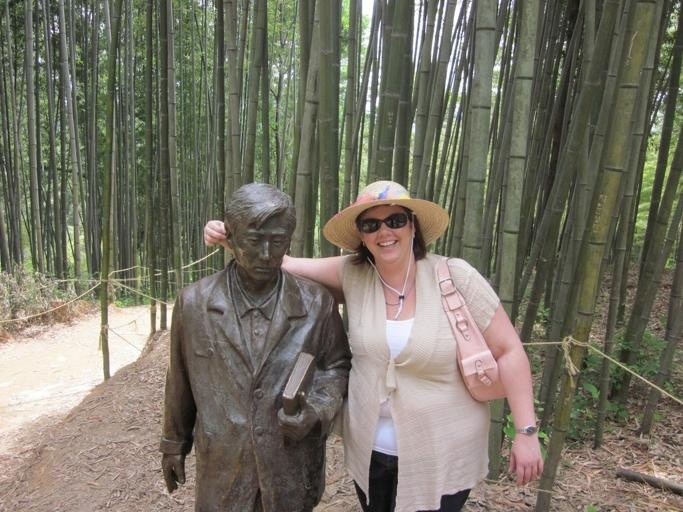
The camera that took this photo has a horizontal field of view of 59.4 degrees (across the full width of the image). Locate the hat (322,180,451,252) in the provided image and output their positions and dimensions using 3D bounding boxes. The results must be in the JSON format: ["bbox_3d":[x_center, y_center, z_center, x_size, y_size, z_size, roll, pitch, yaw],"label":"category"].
[{"bbox_3d":[0.173,-0.176,2.976,0.392,0.443,0.166,14,49,-22],"label":"hat"}]

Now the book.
[{"bbox_3d":[-0.187,0.615,2.589,0.066,0.320,0.283,6,21,9],"label":"book"}]

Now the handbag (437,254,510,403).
[{"bbox_3d":[0.638,0.354,2.830,0.288,0.584,0.186,-22,-12,27],"label":"handbag"}]
